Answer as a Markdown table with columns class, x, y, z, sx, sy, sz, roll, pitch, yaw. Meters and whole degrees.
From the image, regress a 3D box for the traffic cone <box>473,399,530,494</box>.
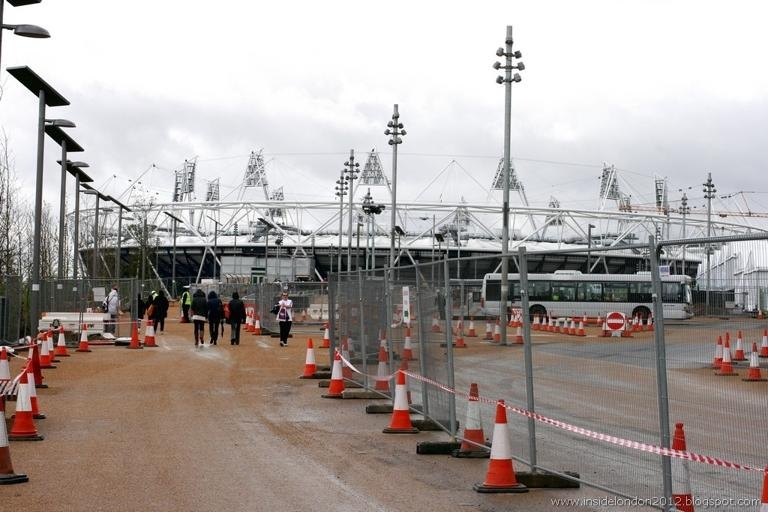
| class | x | y | z | sx | sy | sz | roll | pitch | yaw |
| --- | --- | --- | --- | --- | --- | --- | --- | --- | --- |
| traffic cone | 1.581 | 2.531 | 11.826 | 0.658 | 1.235 | 0.540 | -2 | -4 | 17 |

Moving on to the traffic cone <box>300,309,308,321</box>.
| class | x | y | z | sx | sy | sz | roll | pitch | yaw |
| --- | --- | --- | --- | --- | --- | --- | --- | --- | --- |
| traffic cone | -3.908 | 2.875 | 43.524 | 0.333 | 0.517 | 0.458 | -1 | -4 | -5 |

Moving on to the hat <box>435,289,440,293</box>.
| class | x | y | z | sx | sy | sz | roll | pitch | yaw |
| --- | --- | --- | --- | --- | --- | --- | --- | --- | --- |
| hat | 0.908 | 0.566 | 14.664 | 0.089 | 0.099 | 0.054 | 2 | 7 | 15 |

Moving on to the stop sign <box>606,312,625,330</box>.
| class | x | y | z | sx | sy | sz | roll | pitch | yaw |
| --- | --- | --- | --- | --- | --- | --- | --- | --- | --- |
| stop sign | 2.908 | 0.815 | 11.028 | 0.287 | 0.316 | 0.172 | -2 | -4 | 15 |

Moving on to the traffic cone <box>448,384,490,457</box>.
| class | x | y | z | sx | sy | sz | roll | pitch | yaw |
| --- | --- | --- | --- | --- | --- | --- | --- | --- | --- |
| traffic cone | 1.367 | 2.465 | 13.385 | 0.742 | 0.964 | 0.770 | -2 | 1 | -29 |

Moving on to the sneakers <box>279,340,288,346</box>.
| class | x | y | z | sx | sy | sz | roll | pitch | yaw |
| --- | --- | --- | --- | --- | --- | --- | --- | --- | --- |
| sneakers | -3.715 | 3.212 | 32.611 | 0.134 | 0.160 | 0.352 | 1 | 5 | 11 |

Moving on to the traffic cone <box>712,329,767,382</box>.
| class | x | y | z | sx | sy | sz | roll | pitch | yaw |
| --- | --- | --- | --- | --- | --- | --- | --- | --- | --- |
| traffic cone | 3.756 | 1.055 | 9.357 | 0.452 | 0.353 | 0.453 | -1 | -4 | 27 |
